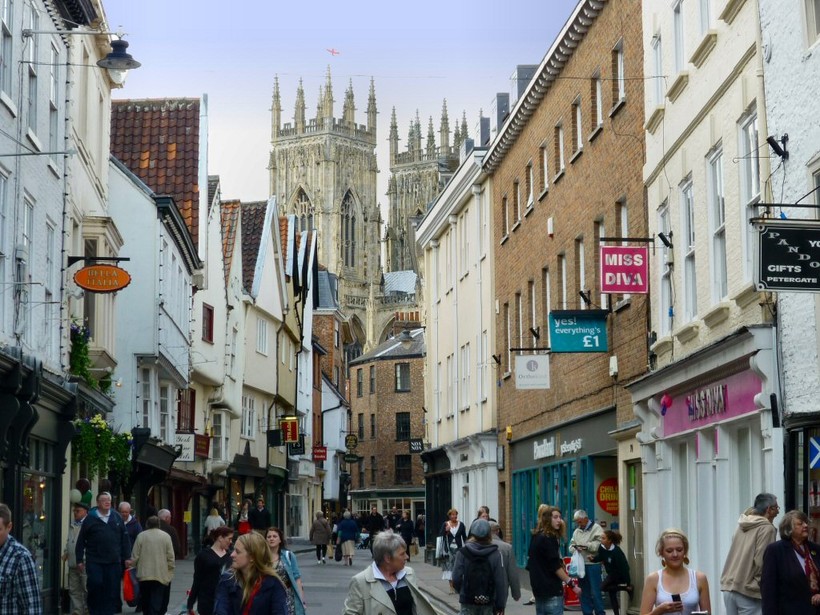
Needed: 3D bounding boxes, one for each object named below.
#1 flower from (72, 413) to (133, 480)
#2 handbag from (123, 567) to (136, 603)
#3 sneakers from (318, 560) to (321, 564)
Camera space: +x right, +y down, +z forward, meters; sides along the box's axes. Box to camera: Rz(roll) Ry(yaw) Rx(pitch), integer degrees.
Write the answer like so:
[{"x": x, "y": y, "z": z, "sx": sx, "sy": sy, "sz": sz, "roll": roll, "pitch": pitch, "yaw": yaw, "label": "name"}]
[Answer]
[{"x": -6.222, "y": 2.770, "z": 32.315, "sx": 0.796, "sy": 0.899, "sz": 1.229, "roll": -3, "pitch": -2, "yaw": -19, "label": "flower"}, {"x": -4.388, "y": 4.308, "z": 25.243, "sx": 0.222, "sy": 0.476, "sz": 0.412, "roll": 3, "pitch": -15, "yaw": -11, "label": "handbag"}, {"x": -2.782, "y": 7.783, "z": 49.503, "sx": 0.101, "sy": 0.120, "sz": 0.062, "roll": -1, "pitch": -12, "yaw": 1, "label": "sneakers"}]
